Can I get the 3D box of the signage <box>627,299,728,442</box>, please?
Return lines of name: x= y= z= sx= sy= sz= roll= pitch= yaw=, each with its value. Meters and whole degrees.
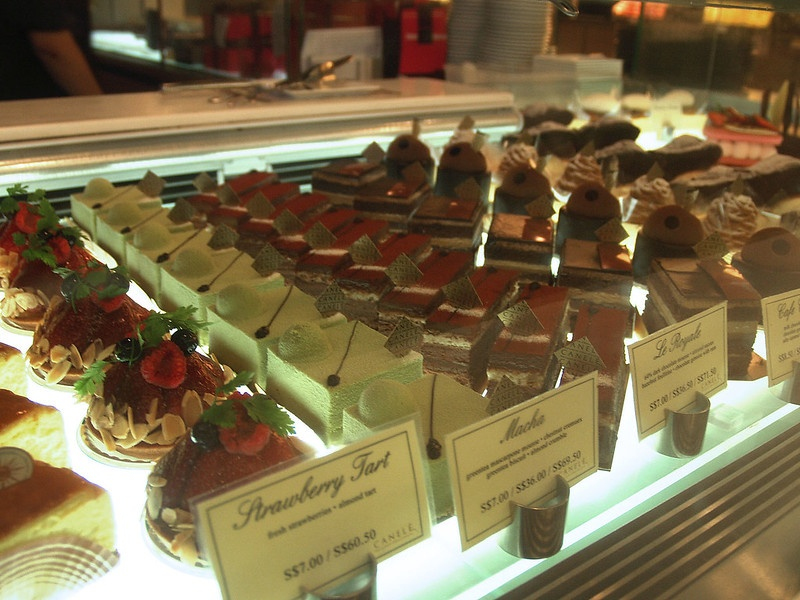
signage: x=0.806 y=0.215 z=1.792 sx=0.370 sy=0.277 sz=0.019 roll=-27 pitch=25 yaw=-29

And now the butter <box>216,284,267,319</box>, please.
butter: x=-0.553 y=0.006 z=2.147 sx=0.141 sy=0.081 sz=0.154 roll=-17 pitch=33 yaw=-32

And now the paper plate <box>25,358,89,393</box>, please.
paper plate: x=-1.118 y=0.218 z=2.026 sx=0.135 sy=0.036 sz=0.129 roll=1 pitch=15 yaw=-8

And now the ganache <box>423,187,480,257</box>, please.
ganache: x=0.232 y=-0.333 z=2.762 sx=0.236 sy=0.106 sz=0.304 roll=5 pitch=37 yaw=5

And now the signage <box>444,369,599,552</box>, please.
signage: x=0.297 y=0.400 z=1.490 sx=0.417 sy=0.250 sz=0.007 roll=-21 pitch=23 yaw=-26

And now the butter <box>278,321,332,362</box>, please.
butter: x=-0.299 y=0.132 z=1.936 sx=0.159 sy=0.093 sz=0.103 roll=-4 pitch=29 yaw=-11

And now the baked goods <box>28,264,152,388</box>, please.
baked goods: x=-1.013 y=0.075 z=1.989 sx=0.383 sy=0.366 sz=0.233 roll=7 pitch=29 yaw=10

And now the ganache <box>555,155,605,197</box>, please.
ganache: x=0.966 y=-0.679 z=3.372 sx=0.289 sy=0.224 sz=0.314 roll=2 pitch=22 yaw=2

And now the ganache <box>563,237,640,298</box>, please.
ganache: x=0.723 y=-0.096 z=2.499 sx=0.327 sy=0.094 sz=0.334 roll=7 pitch=9 yaw=-2

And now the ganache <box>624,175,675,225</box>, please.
ganache: x=1.185 y=-0.504 z=3.124 sx=0.263 sy=0.231 sz=0.252 roll=-3 pitch=19 yaw=-3

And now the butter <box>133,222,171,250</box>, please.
butter: x=-1.021 y=-0.270 z=2.590 sx=0.115 sy=0.074 sz=0.133 roll=-1 pitch=14 yaw=4

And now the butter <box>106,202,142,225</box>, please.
butter: x=-1.221 y=-0.382 z=2.780 sx=0.121 sy=0.045 sz=0.116 roll=4 pitch=36 yaw=-1

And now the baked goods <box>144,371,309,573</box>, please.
baked goods: x=-0.439 y=0.374 z=1.506 sx=0.380 sy=0.167 sz=0.480 roll=-2 pitch=25 yaw=-8
